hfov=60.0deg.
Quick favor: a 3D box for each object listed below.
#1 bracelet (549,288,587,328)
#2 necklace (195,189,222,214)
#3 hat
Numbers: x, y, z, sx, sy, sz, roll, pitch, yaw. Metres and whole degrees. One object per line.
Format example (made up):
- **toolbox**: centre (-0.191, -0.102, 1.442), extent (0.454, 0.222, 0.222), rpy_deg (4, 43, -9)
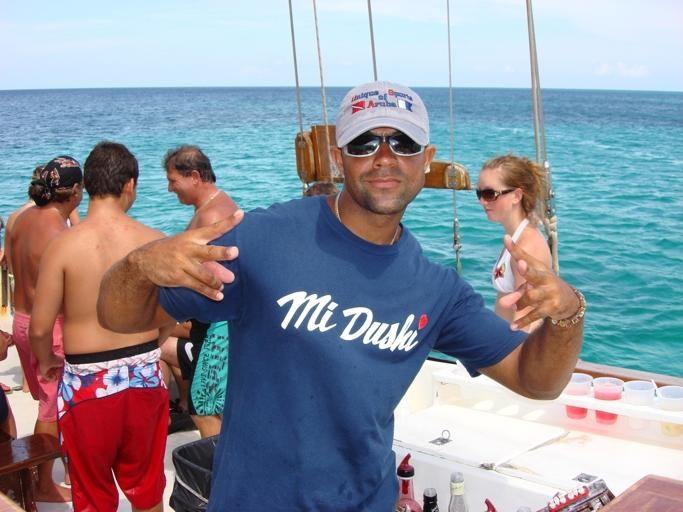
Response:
- **bracelet**: centre (0.739, 0.166, 1.892), extent (0.109, 0.120, 0.048), rpy_deg (-17, -46, 34)
- **necklace**: centre (-1.049, -0.413, 4.609), extent (0.087, 0.222, 0.161), rpy_deg (41, 16, -8)
- **hat**: centre (0.129, -0.474, 2.002), extent (0.338, 0.221, 0.425), rpy_deg (-3, 10, -10)
